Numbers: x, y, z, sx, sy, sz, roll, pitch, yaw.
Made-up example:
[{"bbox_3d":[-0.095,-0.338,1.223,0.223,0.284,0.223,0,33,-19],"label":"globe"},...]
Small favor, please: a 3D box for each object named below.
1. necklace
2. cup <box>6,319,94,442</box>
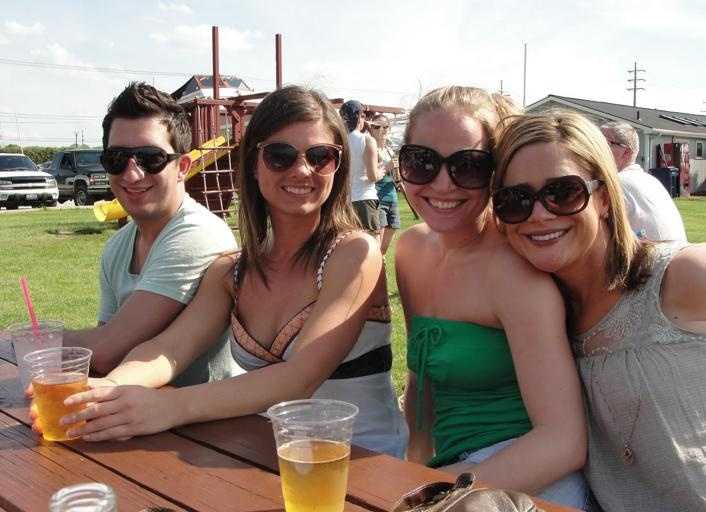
[{"bbox_3d":[1.007,0.452,2.051,0.282,0.659,0.179,3,8,24],"label":"necklace"},{"bbox_3d":[-1.038,0.429,1.919,0.332,0.459,0.354,-2,-5,0],"label":"cup"}]
